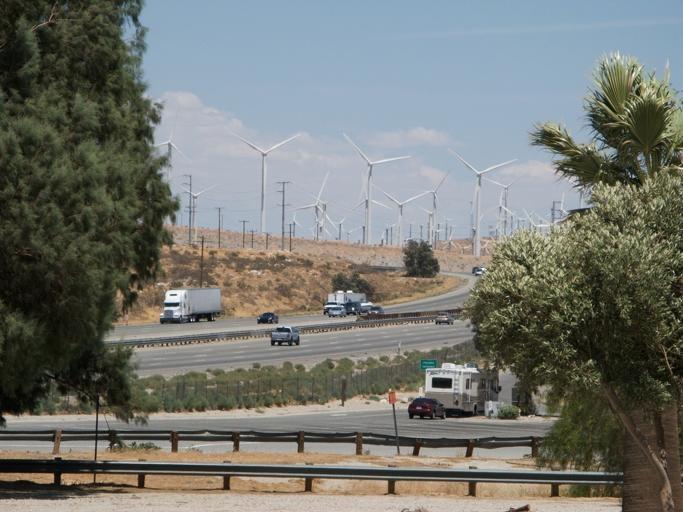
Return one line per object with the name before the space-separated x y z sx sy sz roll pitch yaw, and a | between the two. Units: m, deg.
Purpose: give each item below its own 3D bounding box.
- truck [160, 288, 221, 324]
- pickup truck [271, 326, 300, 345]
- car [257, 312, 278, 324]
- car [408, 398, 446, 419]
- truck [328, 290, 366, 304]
truck | -11.998 3.803 129.604 1.858 2.882 7.388 -2 -3 20
pickup truck | -3.842 5.381 114.923 1.712 1.405 2.406 1 -6 5
car | -5.865 4.914 133.774 1.569 1.121 3.027 2 -7 -2
car | 4.365 7.827 87.530 1.310 1.071 2.197 -2 -7 24
truck | -0.314 3.677 150.645 2.536 1.416 1.433 -2 -1 37
